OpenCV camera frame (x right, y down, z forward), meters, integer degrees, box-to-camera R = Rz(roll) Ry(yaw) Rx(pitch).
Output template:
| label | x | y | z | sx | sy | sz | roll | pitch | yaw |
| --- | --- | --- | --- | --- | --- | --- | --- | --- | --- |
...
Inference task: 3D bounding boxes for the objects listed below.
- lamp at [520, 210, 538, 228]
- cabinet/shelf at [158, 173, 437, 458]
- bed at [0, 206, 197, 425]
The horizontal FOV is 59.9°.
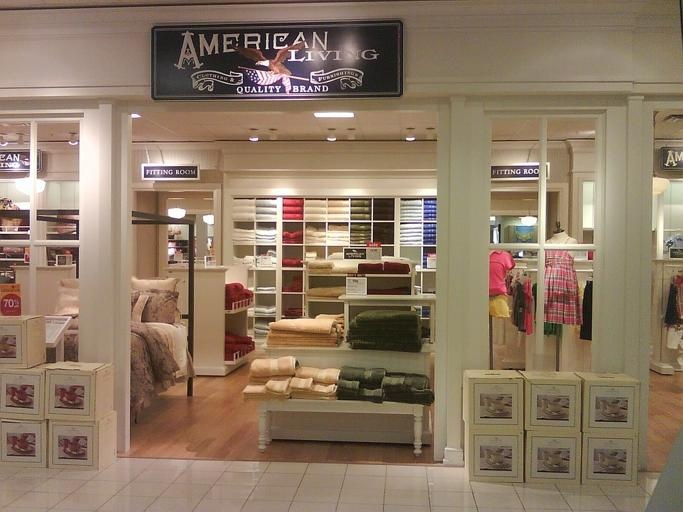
| label | x | y | z | sx | sy | sz | roll | pitch | yaw |
| --- | --- | --- | --- | --- | --- | --- | --- | --- | --- |
| lamp | 1.526 | -0.307 | 4.933 | 0.120 | 0.110 | 0.170 | -1 | 5 | -17 |
| cabinet/shelf | -0.433 | 0.615 | 6.911 | 3.603 | 2.798 | 1.115 | 0 | 0 | 6 |
| bed | -2.674 | 0.571 | 6.290 | 2.066 | 2.312 | 2.415 | 1 | 0 | -4 |
